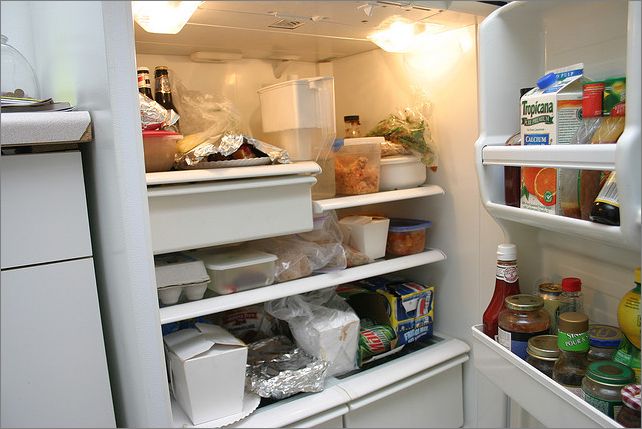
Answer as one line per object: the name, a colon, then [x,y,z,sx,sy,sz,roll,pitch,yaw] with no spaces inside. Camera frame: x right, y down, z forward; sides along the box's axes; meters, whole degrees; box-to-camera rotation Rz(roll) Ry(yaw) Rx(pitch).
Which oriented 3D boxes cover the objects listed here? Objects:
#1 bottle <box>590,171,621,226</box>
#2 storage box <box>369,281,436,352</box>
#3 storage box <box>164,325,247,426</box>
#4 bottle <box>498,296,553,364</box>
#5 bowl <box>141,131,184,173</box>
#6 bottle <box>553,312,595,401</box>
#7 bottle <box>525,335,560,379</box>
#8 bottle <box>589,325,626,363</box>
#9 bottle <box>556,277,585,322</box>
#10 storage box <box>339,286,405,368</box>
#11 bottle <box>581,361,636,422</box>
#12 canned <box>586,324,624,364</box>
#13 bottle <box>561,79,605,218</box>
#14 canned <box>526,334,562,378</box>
bottle: [0.636,-0.034,0.975,0.052,0.116,0.096,1,13,23]
storage box: [0.372,0.387,1.863,0.264,0.233,0.255,-7,11,-29]
storage box: [-0.384,0.501,1.509,0.238,0.216,0.296,-6,23,-26]
bottle: [0.590,0.339,1.272,0.137,0.195,0.132,-6,15,2]
bowl: [-0.467,-0.189,1.325,0.124,0.080,0.118,4,13,-1]
bottle: [0.640,0.386,1.112,0.094,0.236,0.097,0,0,0]
bottle: [0.586,0.366,1.153,0.091,0.083,0.087,-8,20,-14]
bottle: [0.745,0.337,1.151,0.084,0.072,0.084,7,19,38]
bottle: [0.700,0.259,1.236,0.085,0.149,0.084,-2,6,0]
storage box: [0.213,0.463,1.770,0.141,0.218,0.237,-13,15,-7]
bottle: [0.653,0.394,1.000,0.109,0.162,0.110,-8,18,3]
canned: [0.743,0.334,1.166,0.086,0.075,0.084,4,18,23]
bottle: [0.638,-0.155,1.073,0.060,0.326,0.098,-14,16,-38]
canned: [0.586,0.364,1.154,0.091,0.083,0.087,-7,20,-10]
